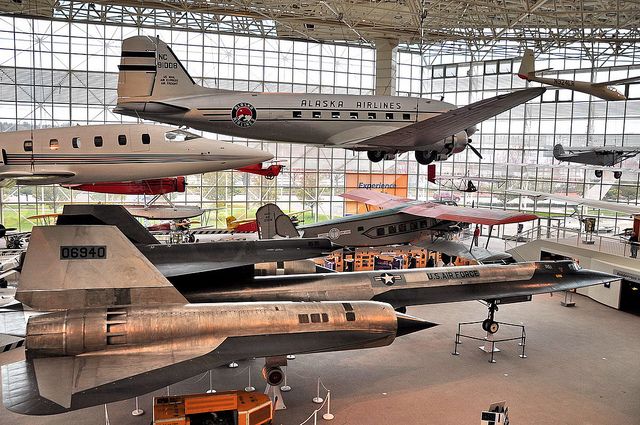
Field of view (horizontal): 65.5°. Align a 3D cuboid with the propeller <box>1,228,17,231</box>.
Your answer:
[{"bbox_3d":[-19.695,1.080,31.601,0.335,0.232,1.897,-8,1,-17],"label":"propeller"}]

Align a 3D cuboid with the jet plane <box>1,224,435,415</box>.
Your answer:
[{"bbox_3d":[-3.270,3.751,16.296,14.204,4.270,5.452,-5,-14,28],"label":"jet plane"}]

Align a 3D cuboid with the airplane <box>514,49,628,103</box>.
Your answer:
[{"bbox_3d":[12.527,-6.431,25.145,4.105,0.762,3.379,8,7,-10],"label":"airplane"}]

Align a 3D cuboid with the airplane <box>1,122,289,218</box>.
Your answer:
[{"bbox_3d":[-8.260,-1.880,23.153,10.070,2.693,8.161,-2,9,-8],"label":"airplane"}]

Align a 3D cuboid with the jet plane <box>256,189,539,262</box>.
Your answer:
[{"bbox_3d":[4.559,0.703,28.392,18.665,3.061,3.688,-2,-9,5],"label":"jet plane"}]

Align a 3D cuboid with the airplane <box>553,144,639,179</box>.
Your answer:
[{"bbox_3d":[18.641,-3.681,33.116,3.676,0.951,3.643,1,2,0],"label":"airplane"}]

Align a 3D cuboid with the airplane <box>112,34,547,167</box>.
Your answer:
[{"bbox_3d":[-0.286,-4.201,20.176,14.706,3.062,15.185,0,13,-23],"label":"airplane"}]

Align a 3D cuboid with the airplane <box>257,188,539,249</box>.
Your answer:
[{"bbox_3d":[4.779,0.292,29.867,21.063,2.991,4.117,-2,-7,3],"label":"airplane"}]

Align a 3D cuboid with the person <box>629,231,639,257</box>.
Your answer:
[{"bbox_3d":[15.595,1.531,24.780,0.354,1.042,1.645,4,9,31],"label":"person"}]

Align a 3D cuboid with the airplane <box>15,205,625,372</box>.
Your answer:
[{"bbox_3d":[-0.317,2.962,16.899,16.721,2.424,7.180,-1,11,-12],"label":"airplane"}]
